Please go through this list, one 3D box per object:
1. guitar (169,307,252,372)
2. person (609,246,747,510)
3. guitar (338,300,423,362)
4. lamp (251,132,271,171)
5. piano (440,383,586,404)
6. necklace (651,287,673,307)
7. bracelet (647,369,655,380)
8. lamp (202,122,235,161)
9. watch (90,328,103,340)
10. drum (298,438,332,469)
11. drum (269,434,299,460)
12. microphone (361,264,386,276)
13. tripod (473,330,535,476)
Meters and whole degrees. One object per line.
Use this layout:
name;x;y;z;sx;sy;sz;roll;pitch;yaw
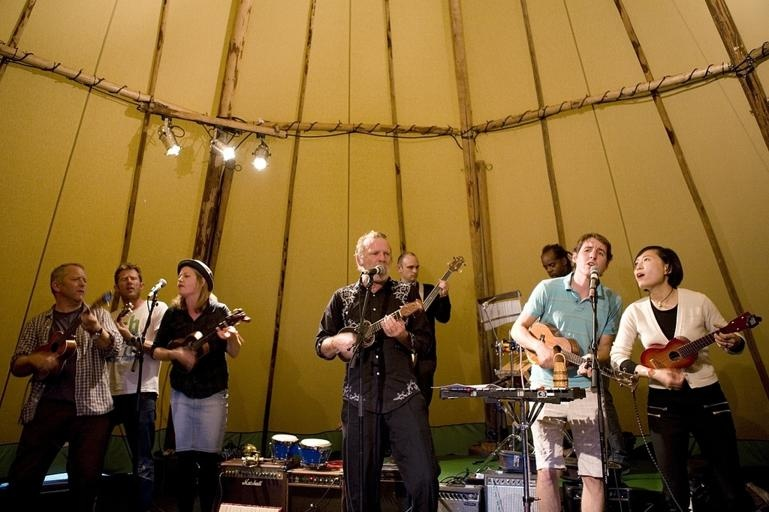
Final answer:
guitar;-1.777;0.773;4.825;0.872;0.403;0.150;-33;11;-6
person;2.745;1.056;4.512;1.075;2.400;0.682;-4;-24;10
guitar;-0.036;0.591;4.126;0.916;0.346;0.107;-36;-22;6
lamp;-1.816;-1.572;7.031;0.233;0.483;0.218;20;4;36
piano;1.062;1.151;4.060;1.145;0.194;0.353;-5;-25;10
necklace;2.686;0.391;4.642;0.128;0.178;0.044;-12;-50;37
bracelet;2.404;1.050;4.320;0.064;0.069;0.067;-5;-18;-1
lamp;-2.354;-1.648;7.026;0.468;0.427;0.478;25;2;-14
watch;-2.808;0.751;4.676;0.086;0.024;0.093;-36;5;28
drum;-0.790;2.205;5.427;0.283;0.226;0.293;1;-8;0
drum;-1.149;2.175;5.555;0.269;0.243;0.279;-9;-16;37
microphone;-0.095;0.105;4.117;0.072;0.068;0.223;-41;-23;31
tripod;1.428;1.774;5.701;0.773;1.738;1.676;-6;-17;17
